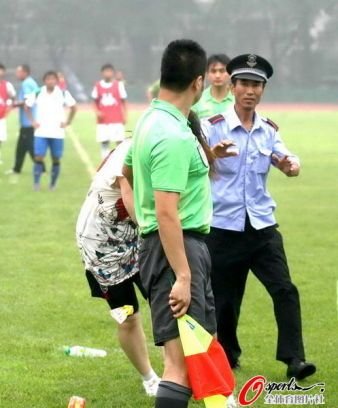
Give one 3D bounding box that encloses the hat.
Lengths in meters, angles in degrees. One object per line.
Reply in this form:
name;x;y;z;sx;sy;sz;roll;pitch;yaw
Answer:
hat;0.452;-0.743;3.581;0.265;0.106;0.271;4;5;-8
